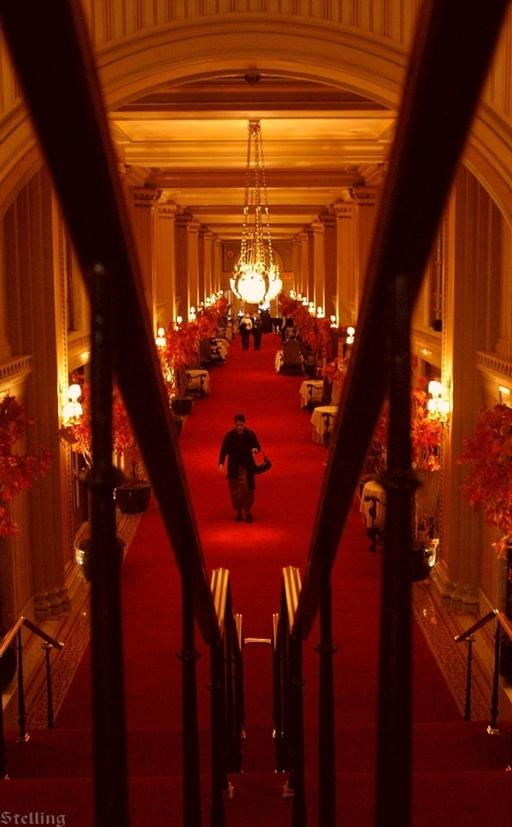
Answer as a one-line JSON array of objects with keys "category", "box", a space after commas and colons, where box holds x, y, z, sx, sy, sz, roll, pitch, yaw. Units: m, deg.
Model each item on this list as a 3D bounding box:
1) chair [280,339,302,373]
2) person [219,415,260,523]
[{"category": "chair", "box": [1.598, -2.546, 27.697, 1.000, 2.248, 1.221, 0, 10, 2]}, {"category": "person", "box": [-0.324, 1.018, 11.892, 0.676, 2.143, 0.611, 4, 26, 12]}]
